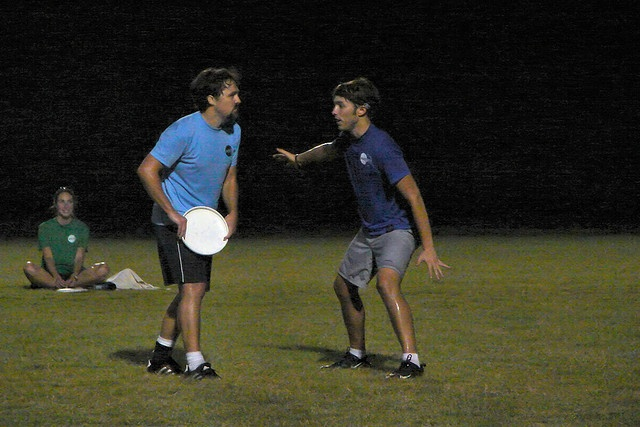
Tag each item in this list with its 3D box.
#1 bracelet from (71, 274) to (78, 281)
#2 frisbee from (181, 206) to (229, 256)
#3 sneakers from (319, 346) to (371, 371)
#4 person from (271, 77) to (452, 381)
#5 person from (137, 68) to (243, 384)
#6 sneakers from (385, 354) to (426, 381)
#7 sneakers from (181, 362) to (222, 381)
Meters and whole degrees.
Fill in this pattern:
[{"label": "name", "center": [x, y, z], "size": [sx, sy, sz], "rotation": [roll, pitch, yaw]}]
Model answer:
[{"label": "bracelet", "center": [-2.616, 0.680, 8.052], "size": [0.075, 0.053, 0.071], "rotation": [5, -6, -34]}, {"label": "frisbee", "center": [-0.842, 0.125, 5.437], "size": [0.436, 0.326, 0.105], "rotation": [3, -10, -29]}, {"label": "sneakers", "center": [0.168, 1.110, 5.702], "size": [0.441, 0.135, 0.131], "rotation": [1, -6, -6]}, {"label": "person", "center": [0.390, 0.077, 5.725], "size": [0.718, 2.159, 1.186], "rotation": [-6, 13, -25]}, {"label": "person", "center": [-0.948, 0.072, 5.492], "size": [0.680, 2.209, 0.736], "rotation": [1, 12, 7]}, {"label": "sneakers", "center": [0.635, 1.095, 5.501], "size": [0.306, 0.183, 0.206], "rotation": [-1, 10, -5]}, {"label": "sneakers", "center": [-0.853, 1.123, 5.395], "size": [0.280, 0.091, 0.099], "rotation": [3, -4, 35]}]
